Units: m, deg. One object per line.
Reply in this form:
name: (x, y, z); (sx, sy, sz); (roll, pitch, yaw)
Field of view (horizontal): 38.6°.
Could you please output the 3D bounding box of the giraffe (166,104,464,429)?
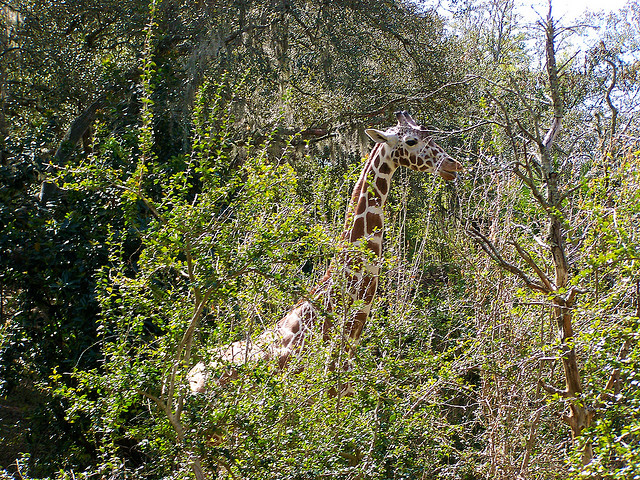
giraffe: (0.057, 0.094, 9.708); (1.647, 3.602, 3.200); (-8, -13, 42)
